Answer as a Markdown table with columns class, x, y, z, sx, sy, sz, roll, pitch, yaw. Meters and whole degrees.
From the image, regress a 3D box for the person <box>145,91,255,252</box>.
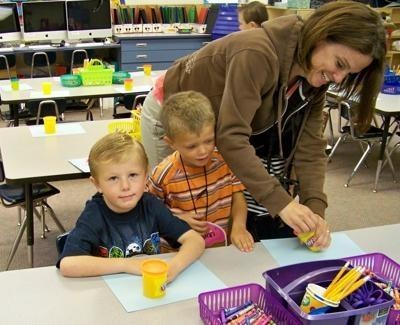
| class | x | y | z | sx | sy | sz | roll | pitch | yaw |
| --- | --- | --- | --- | --- | --- | --- | --- | --- | --- |
| person | 0.008 | 0.146 | 1.570 | 0.456 | 0.952 | 0.507 | -8 | 38 | -1 |

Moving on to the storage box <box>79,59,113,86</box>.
| class | x | y | z | sx | sy | sz | roll | pitch | yaw |
| --- | --- | --- | --- | --- | --- | --- | --- | --- | --- |
| storage box | -1.298 | -1.099 | 4.167 | 0.376 | 0.296 | 0.395 | -5 | 22 | -19 |

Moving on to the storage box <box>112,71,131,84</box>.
| class | x | y | z | sx | sy | sz | roll | pitch | yaw |
| --- | --- | --- | --- | --- | --- | --- | --- | --- | --- |
| storage box | -0.999 | -1.080 | 4.202 | 0.221 | 0.152 | 0.220 | -3 | 11 | -18 |
